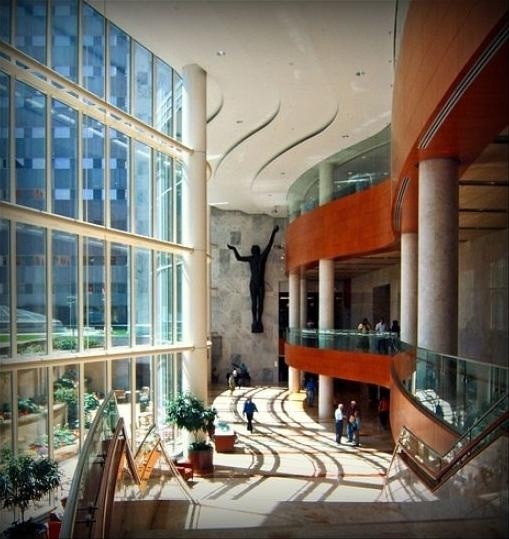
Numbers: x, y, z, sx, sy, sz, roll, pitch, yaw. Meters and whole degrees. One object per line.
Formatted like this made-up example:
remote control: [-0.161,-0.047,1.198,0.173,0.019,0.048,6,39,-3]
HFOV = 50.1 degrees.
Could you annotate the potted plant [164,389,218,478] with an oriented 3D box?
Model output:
potted plant: [-1.765,4.392,14.566,1.088,2.570,1.651,-6,-7,42]

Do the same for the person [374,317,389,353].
person: [3.973,2.080,17.113,0.384,1.058,1.466,-1,-5,12]

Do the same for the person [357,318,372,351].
person: [3.672,2.202,18.465,0.409,1.052,1.644,-1,-5,11]

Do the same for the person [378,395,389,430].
person: [4.706,5.193,19.887,0.315,1.241,1.718,-1,-5,14]

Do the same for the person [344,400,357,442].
person: [3.133,4.889,17.552,0.353,1.467,1.631,-1,-5,11]

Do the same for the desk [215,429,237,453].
desk: [-0.929,5.310,16.906,0.619,0.508,0.913,1,-5,-5]
